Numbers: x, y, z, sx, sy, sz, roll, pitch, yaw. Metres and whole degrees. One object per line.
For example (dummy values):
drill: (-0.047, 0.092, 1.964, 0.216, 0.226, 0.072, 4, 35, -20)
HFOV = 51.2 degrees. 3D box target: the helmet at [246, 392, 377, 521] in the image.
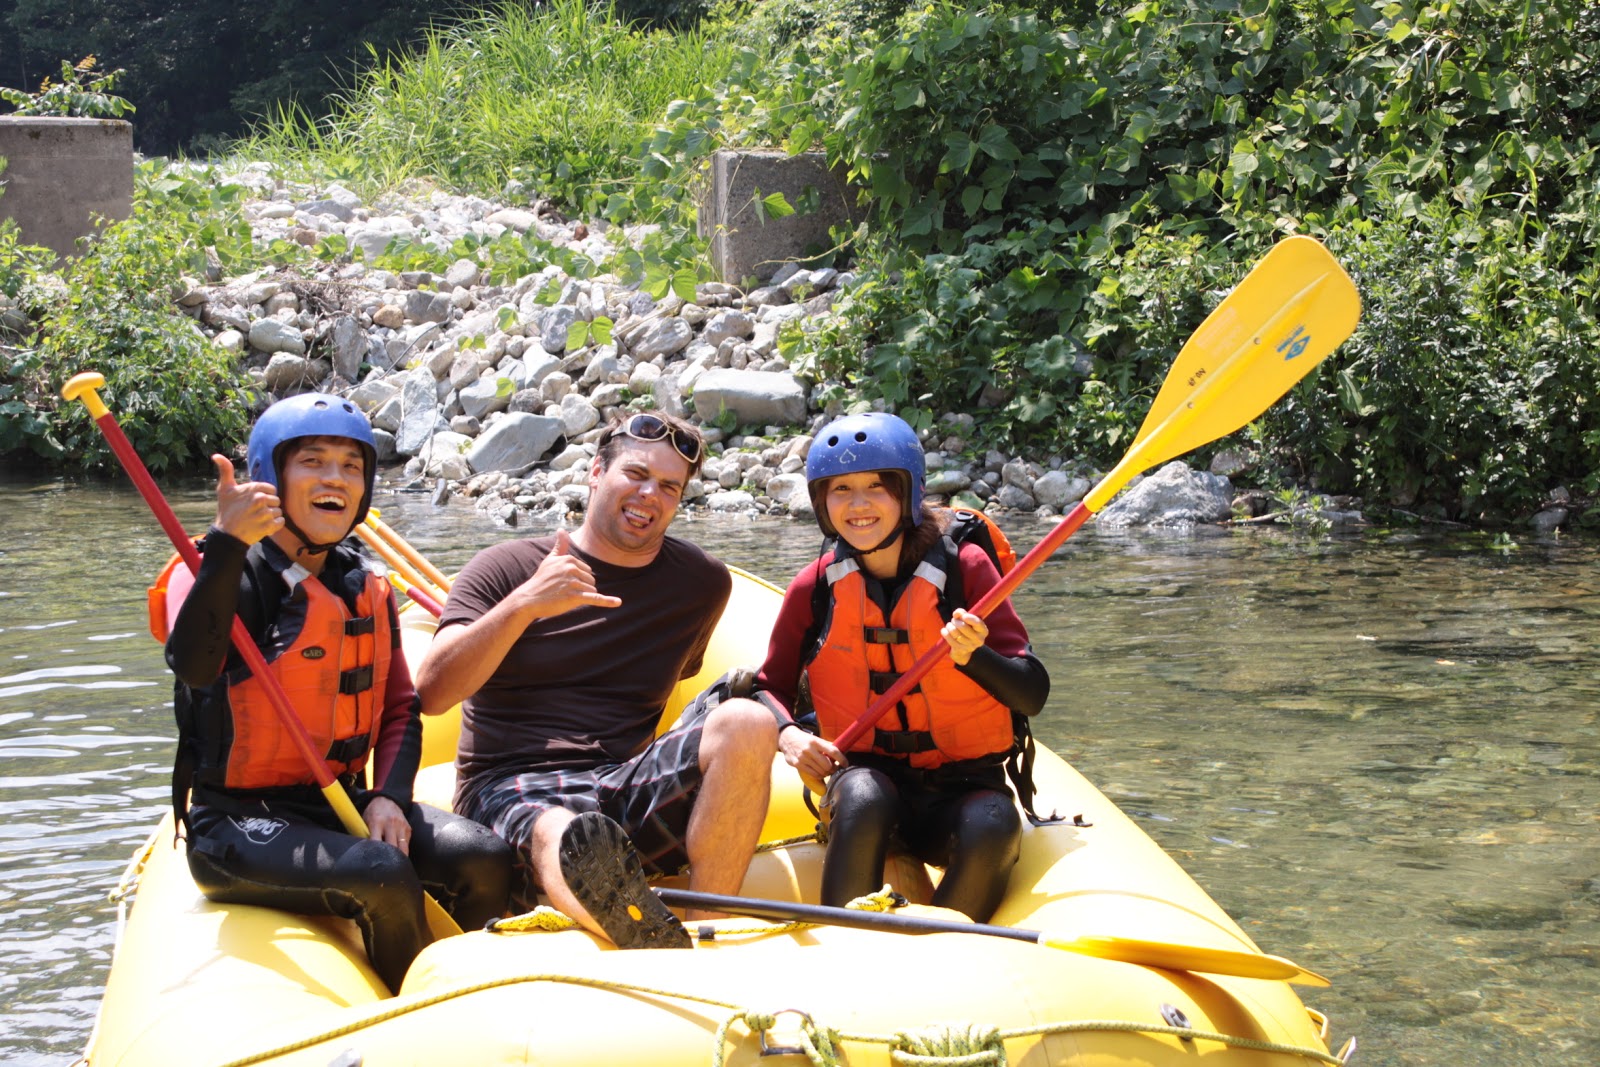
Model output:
helmet: (-1.208, -0.205, 4.094, 0.250, 0.300, 0.326, 6, -17, -29)

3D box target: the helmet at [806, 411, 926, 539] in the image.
helmet: (0.196, -0.165, 4.426, 0.307, 0.321, 0.403, -6, -5, 10)

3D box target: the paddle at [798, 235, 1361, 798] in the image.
paddle: (1.255, -0.082, 6.678, 0.565, 3.912, 0.143, 50, -4, 10)

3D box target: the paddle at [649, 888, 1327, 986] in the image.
paddle: (0.355, 0.921, 3.794, 1.534, 0.069, 0.168, 8, -33, -3)
